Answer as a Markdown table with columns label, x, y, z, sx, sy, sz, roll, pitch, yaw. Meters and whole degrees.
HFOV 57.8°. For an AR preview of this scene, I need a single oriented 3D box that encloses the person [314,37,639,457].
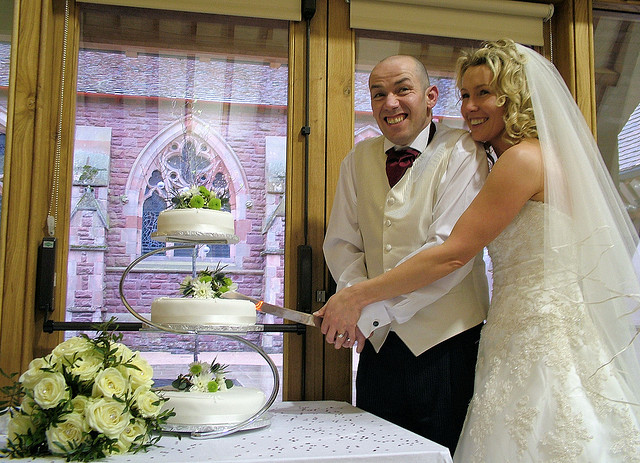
| label | x | y | z | sx | sy | sz | roll | pitch | yaw |
| --- | --- | --- | --- | --- | --- | --- | --- | --- | --- |
| person | 0.747 | 0.033 | 2.347 | 0.958 | 1.735 | 0.442 | 0 | -1 | 32 |

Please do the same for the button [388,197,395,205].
| label | x | y | z | sx | sy | sz | roll | pitch | yaw |
| --- | --- | --- | --- | --- | --- | --- | --- | --- | --- |
| button | 0.312 | -0.132 | 2.542 | 0.033 | 0.031 | 0.008 | -4 | 0 | 19 |

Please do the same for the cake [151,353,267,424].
| label | x | y | z | sx | sy | sz | roll | pitch | yaw |
| --- | --- | --- | --- | --- | --- | --- | --- | --- | --- |
| cake | -0.469 | 0.648 | 2.392 | 0.532 | 0.254 | 0.522 | 5 | -12 | -16 |

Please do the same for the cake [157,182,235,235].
| label | x | y | z | sx | sy | sz | roll | pitch | yaw |
| --- | --- | --- | --- | --- | --- | --- | --- | --- | --- |
| cake | -0.520 | -0.072 | 2.447 | 0.251 | 0.155 | 0.248 | 2 | -6 | -10 |

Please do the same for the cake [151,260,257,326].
| label | x | y | z | sx | sy | sz | roll | pitch | yaw |
| --- | --- | --- | --- | --- | --- | --- | --- | --- | --- |
| cake | -0.440 | 0.258 | 2.270 | 0.272 | 0.163 | 0.272 | -6 | -11 | 44 |

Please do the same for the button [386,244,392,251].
| label | x | y | z | sx | sy | sz | roll | pitch | yaw |
| --- | --- | --- | --- | --- | --- | --- | --- | --- | --- |
| button | 0.299 | 0.072 | 2.514 | 0.024 | 0.027 | 0.007 | 1 | -1 | 7 |

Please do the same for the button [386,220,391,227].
| label | x | y | z | sx | sy | sz | roll | pitch | yaw |
| --- | --- | --- | --- | --- | --- | --- | --- | --- | --- |
| button | 0.296 | -0.034 | 2.525 | 0.028 | 0.025 | 0.006 | 16 | -1 | 18 |

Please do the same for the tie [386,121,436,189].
| label | x | y | z | sx | sy | sz | roll | pitch | yaw |
| --- | --- | --- | --- | --- | --- | --- | --- | --- | --- |
| tie | 0.354 | -0.345 | 2.626 | 0.173 | 0.271 | 0.299 | 15 | -14 | 4 |
